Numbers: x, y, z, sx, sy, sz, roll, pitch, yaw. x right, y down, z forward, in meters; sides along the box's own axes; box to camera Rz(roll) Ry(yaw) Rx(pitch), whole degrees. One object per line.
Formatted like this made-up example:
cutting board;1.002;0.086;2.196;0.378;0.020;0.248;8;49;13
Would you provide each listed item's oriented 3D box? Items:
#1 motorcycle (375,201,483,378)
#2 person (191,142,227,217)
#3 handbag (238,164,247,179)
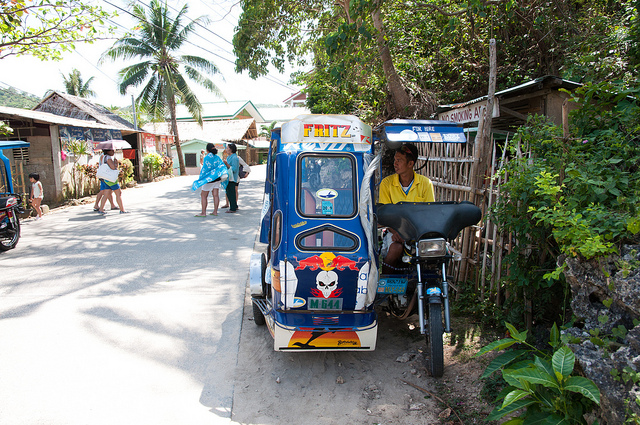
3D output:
motorcycle;1.259;0.866;5.060;1.074;1.945;0.866;5;13;30
person;-2.995;-0.889;11.513;1.011;2.017;0.662;-8;13;-30
handbag;-2.212;-1.173;11.881;0.213;0.403;0.659;-6;12;-20
